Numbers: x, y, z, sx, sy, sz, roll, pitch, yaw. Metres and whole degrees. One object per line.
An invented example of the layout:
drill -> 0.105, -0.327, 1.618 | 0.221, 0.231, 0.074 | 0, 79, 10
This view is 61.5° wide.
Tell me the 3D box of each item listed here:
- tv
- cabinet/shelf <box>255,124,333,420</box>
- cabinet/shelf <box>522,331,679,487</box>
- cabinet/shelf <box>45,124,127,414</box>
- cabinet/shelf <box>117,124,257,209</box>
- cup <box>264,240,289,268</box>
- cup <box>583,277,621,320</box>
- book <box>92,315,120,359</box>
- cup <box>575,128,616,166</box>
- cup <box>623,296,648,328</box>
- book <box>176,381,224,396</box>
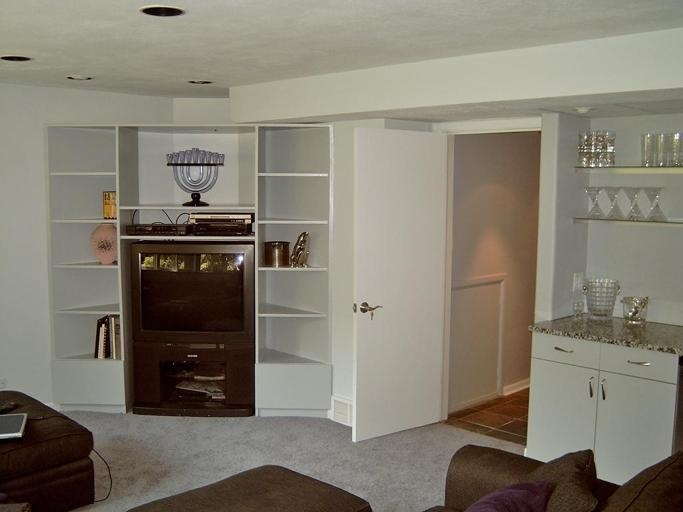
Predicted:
tv -> -1.384, 0.256, 5.598 | 1.424, 1.031, 0.770 | 1, 5, 2
cabinet/shelf -> -0.426, 0.115, 5.466 | 0.758, 2.736, 0.734 | 0, 7, -6
cabinet/shelf -> 1.733, 0.967, 3.731 | 1.009, 1.000, 0.484 | 1, 0, 41
cabinet/shelf -> -2.456, 0.110, 5.426 | 0.702, 2.617, 0.756 | -4, 10, -26
cabinet/shelf -> -1.500, -0.873, 5.648 | 1.243, 0.747, 0.534 | 0, 9, -6
cup -> -0.609, -0.016, 5.305 | 0.228, 0.221, 0.228 | 0, 1, 0
cup -> 1.971, 0.317, 4.341 | 0.293, 0.278, 0.286 | 0, 0, 0
book -> -2.211, 0.753, 5.410 | 0.295, 0.401, 0.143 | 3, 9, 11
cup -> 2.030, -0.811, 4.454 | 0.280, 0.365, 0.279 | 1, 0, 0
cup -> 2.165, 0.395, 4.230 | 0.167, 0.203, 0.164 | 1, 9, 0
book -> -1.365, 1.253, 5.493 | 0.494, 0.100, 0.108 | 4, 10, 16
